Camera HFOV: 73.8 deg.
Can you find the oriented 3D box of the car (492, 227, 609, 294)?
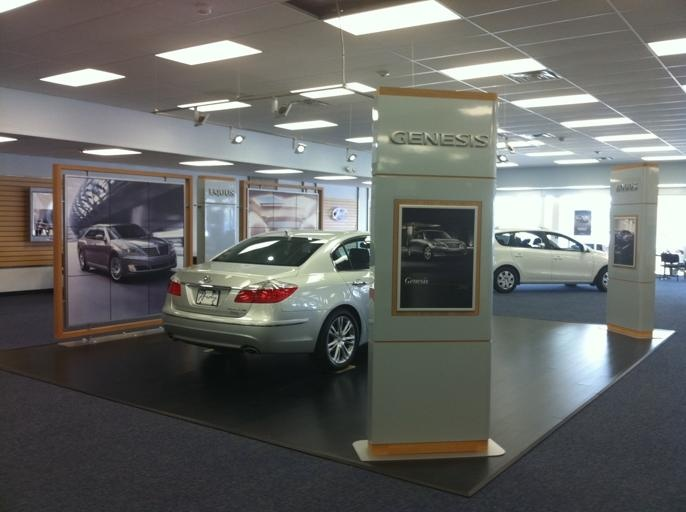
[{"bbox_3d":[5.962,0.044,14.193,5.133,1.792,2.332,-1,3,-8],"label":"car"}]
